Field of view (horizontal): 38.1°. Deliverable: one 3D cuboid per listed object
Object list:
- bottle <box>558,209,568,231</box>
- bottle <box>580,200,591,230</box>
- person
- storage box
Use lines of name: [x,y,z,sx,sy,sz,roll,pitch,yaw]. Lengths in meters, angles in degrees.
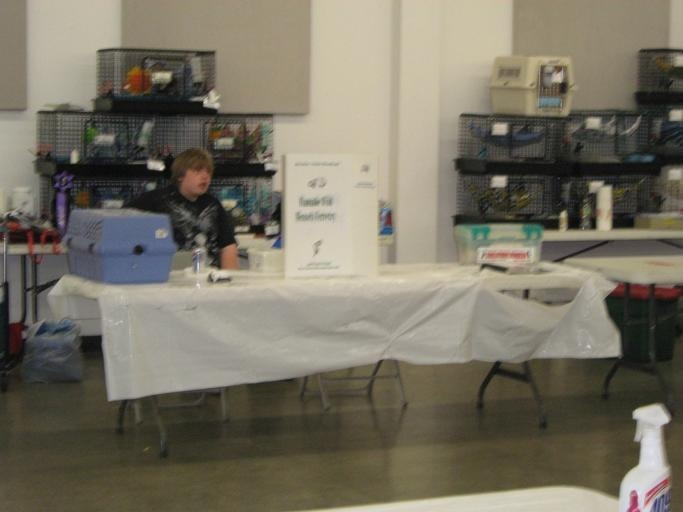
bottle: [1.820,-0.285,8.102,0.053,0.162,0.168,2,4,16]
bottle: [2.022,-0.349,8.164,0.092,0.257,0.120,1,7,16]
person: [-1.103,-0.186,6.893,1.000,1.302,0.735,-2,1,-40]
storage box: [0.899,-0.069,5.660,0.489,0.224,0.225,0,7,6]
